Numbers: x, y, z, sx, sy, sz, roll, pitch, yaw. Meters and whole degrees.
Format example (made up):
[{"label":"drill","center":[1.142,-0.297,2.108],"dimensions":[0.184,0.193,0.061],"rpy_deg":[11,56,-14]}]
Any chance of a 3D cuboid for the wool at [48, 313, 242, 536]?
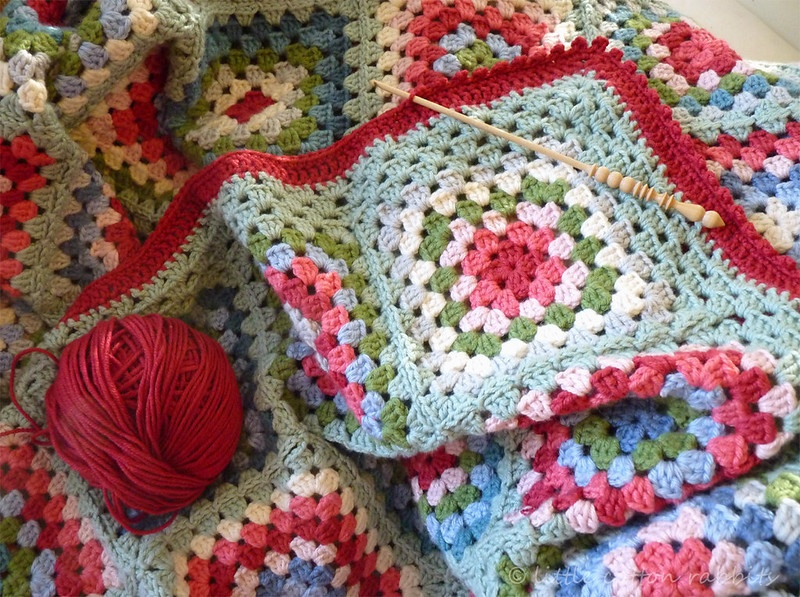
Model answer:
[{"label":"wool","center":[-0.423,0.215,1.748],"dimensions":[0.297,0.316,0.408],"rpy_deg":[-11,60,29]}]
